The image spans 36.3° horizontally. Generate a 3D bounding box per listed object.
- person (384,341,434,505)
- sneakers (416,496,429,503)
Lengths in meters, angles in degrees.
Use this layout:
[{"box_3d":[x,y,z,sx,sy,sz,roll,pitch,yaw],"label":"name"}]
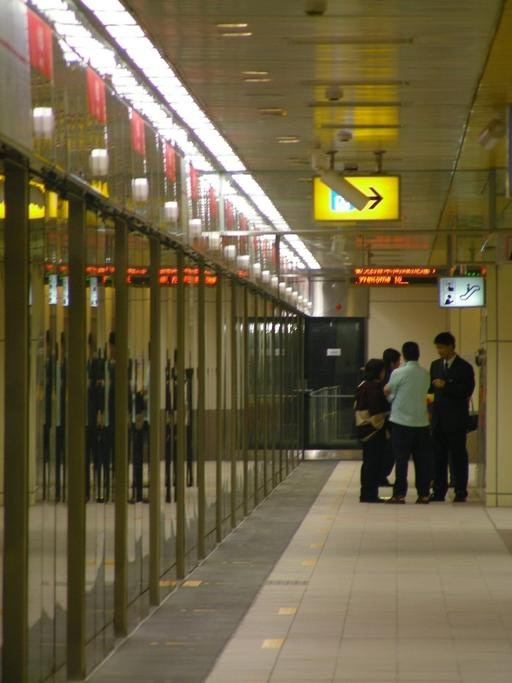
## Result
[{"box_3d":[1.829,0.983,9.441,0.525,1.951,0.502,-1,-2,12],"label":"person"},{"box_3d":[2.005,1.898,9.428,0.173,0.141,0.063,1,-1,3],"label":"sneakers"}]
